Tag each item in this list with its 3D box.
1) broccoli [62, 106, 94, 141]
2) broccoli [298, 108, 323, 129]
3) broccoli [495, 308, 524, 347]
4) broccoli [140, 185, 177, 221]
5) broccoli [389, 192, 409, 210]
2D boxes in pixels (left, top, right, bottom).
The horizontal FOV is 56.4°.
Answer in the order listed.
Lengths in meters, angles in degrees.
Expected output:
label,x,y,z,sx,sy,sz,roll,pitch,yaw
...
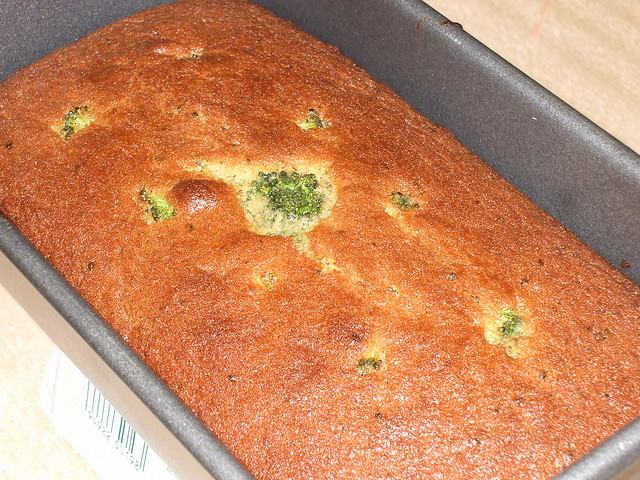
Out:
label,x,y,z,sx,sy,sz,roll,pitch,yaw
broccoli,-0.606,-0.295,1.475,0.055,0.020,0.090,26,58,-8
broccoli,-0.022,-0.305,1.533,0.053,0.018,0.056,5,57,1
broccoli,0.404,0.185,1.277,0.080,0.033,0.056,-26,75,-10
broccoli,-0.362,-0.080,1.338,0.082,0.023,0.052,34,67,9
broccoli,0.194,-0.097,1.419,0.042,0.015,0.031,41,69,20
